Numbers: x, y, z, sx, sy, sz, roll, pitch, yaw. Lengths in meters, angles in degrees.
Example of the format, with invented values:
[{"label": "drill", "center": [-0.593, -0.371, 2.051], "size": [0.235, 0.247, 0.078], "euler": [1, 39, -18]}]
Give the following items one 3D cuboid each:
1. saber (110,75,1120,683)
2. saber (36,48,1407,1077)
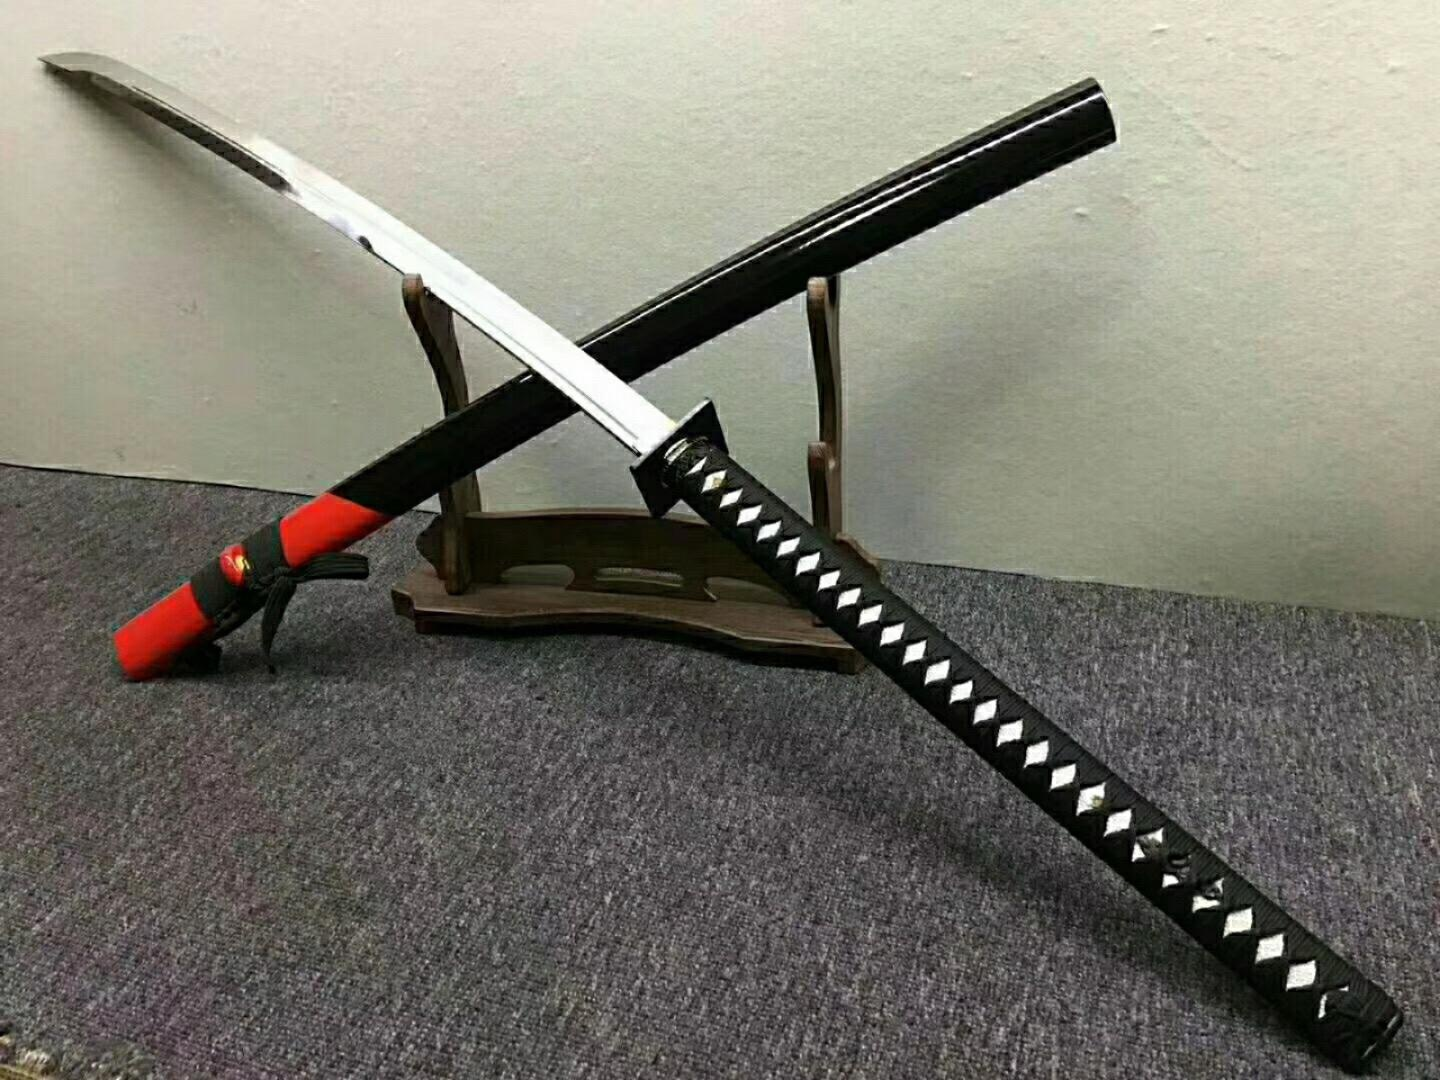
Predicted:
[{"label": "saber", "center": [-0.166, -0.170, 1.910], "size": [1.507, 0.190, 0.171], "euler": [-27, 46, 17]}, {"label": "saber", "center": [-0.029, -0.112, 1.816], "size": [1.925, 0.385, 0.998], "euler": [16, 72, 13]}]
